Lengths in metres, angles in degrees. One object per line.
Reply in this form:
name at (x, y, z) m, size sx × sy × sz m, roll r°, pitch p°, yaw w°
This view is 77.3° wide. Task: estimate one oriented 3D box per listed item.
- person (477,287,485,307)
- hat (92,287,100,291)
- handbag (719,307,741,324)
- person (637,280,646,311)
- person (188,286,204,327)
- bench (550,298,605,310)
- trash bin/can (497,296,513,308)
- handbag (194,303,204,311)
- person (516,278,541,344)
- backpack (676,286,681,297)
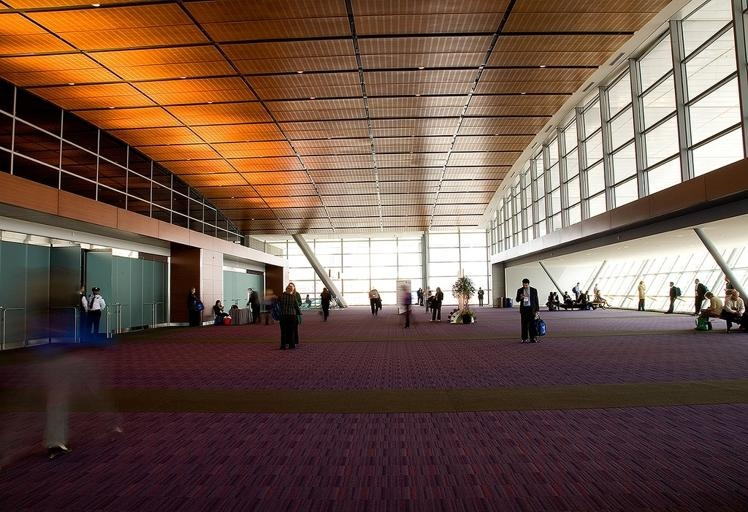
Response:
person at (8.935, 3.470, 39.536) m, size 0.348 × 1.543 × 0.833 m, roll -2°, pitch 4°, yaw -1°
hat at (-10.186, 1.233, 17.194) m, size 0.208 × 0.152 × 0.221 m, roll 10°, pitch 5°, yaw 26°
handbag at (12.183, 2.129, 15.996) m, size 0.586 × 0.173 × 0.586 m, roll 31°, pitch -12°, yaw -4°
person at (15.121, 2.299, 26.527) m, size 0.326 × 1.705 × 0.793 m, roll 1°, pitch 4°, yaw 28°
person at (-8.344, 2.401, 21.896) m, size 0.668 × 1.732 × 1.397 m, roll -3°, pitch 4°, yaw -21°
bench at (13.229, 3.254, 30.791) m, size 3.662 × 0.766 × 2.857 m, roll 0°, pitch 3°, yaw 12°
trash bin/can at (10.265, 3.724, 36.781) m, size 0.881 × 0.964 × 1.119 m, roll 0°, pitch 4°, yaw -1°
handbag at (-8.061, 2.371, 21.690) m, size 0.319 × 0.399 × 0.597 m, roll -37°, pitch 13°, yaw -17°
person at (4.621, 1.634, 14.096) m, size 0.547 × 1.925 × 1.224 m, roll 0°, pitch 4°, yaw 16°
backpack at (15.795, 1.897, 24.337) m, size 0.152 × 0.504 × 0.581 m, roll 3°, pitch -7°, yaw 30°
